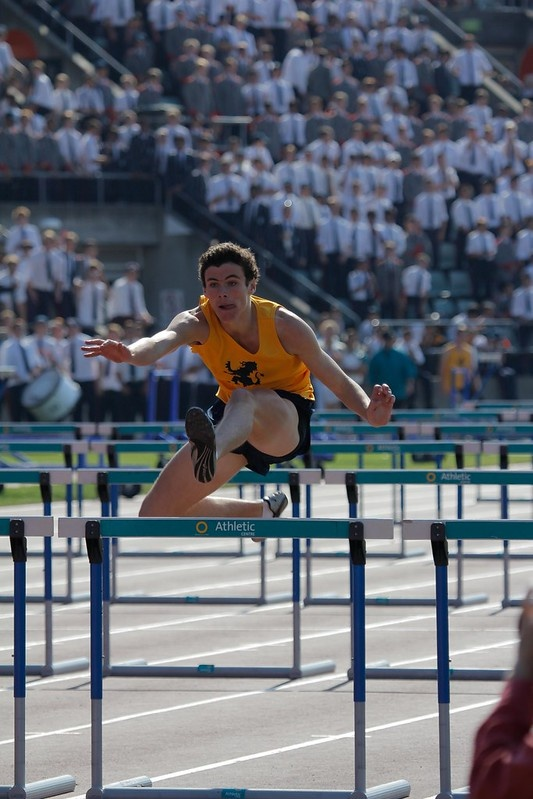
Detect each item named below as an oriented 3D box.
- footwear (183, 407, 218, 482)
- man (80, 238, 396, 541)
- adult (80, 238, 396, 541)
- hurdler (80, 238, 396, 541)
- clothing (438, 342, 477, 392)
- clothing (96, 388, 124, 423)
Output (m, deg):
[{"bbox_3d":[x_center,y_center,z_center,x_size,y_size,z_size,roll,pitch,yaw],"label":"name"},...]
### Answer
[{"bbox_3d":[-0.223,0.159,4.947,0.097,0.257,0.104,-3,3,10],"label":"footwear"},{"bbox_3d":[-0.055,-0.044,5.493,0.883,1.106,1.279,0,3,26],"label":"man"},{"bbox_3d":[-0.055,-0.044,5.493,0.883,1.106,1.279,0,3,26],"label":"adult"},{"bbox_3d":[-0.050,-0.044,5.490,0.894,1.106,1.279,0,3,26],"label":"hurdler"},{"bbox_3d":[2.287,-0.362,17.596,0.323,0.624,0.504,-4,4,-36],"label":"clothing"},{"bbox_3d":[-1.924,0.066,17.767,0.393,0.538,0.208,2,6,-8],"label":"clothing"}]
